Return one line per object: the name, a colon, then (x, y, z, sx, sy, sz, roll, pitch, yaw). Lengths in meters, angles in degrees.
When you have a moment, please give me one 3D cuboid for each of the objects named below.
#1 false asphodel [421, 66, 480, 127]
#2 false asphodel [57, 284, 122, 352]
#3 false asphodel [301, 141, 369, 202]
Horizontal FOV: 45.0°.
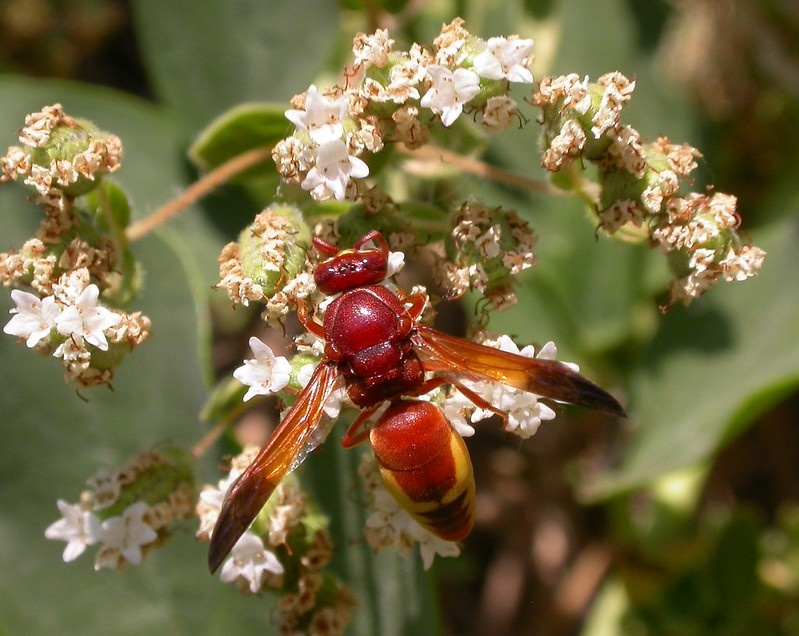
false asphodel: (0.092, -0.420, 1.773, 0.096, 0.047, 0.106, 31, 78, 10)
false asphodel: (-0.577, -0.003, 1.819, 0.102, 0.128, 0.123, -3, 108, -18)
false asphodel: (-0.122, -0.273, 1.789, 0.096, 0.099, 0.125, -1, 103, -5)
